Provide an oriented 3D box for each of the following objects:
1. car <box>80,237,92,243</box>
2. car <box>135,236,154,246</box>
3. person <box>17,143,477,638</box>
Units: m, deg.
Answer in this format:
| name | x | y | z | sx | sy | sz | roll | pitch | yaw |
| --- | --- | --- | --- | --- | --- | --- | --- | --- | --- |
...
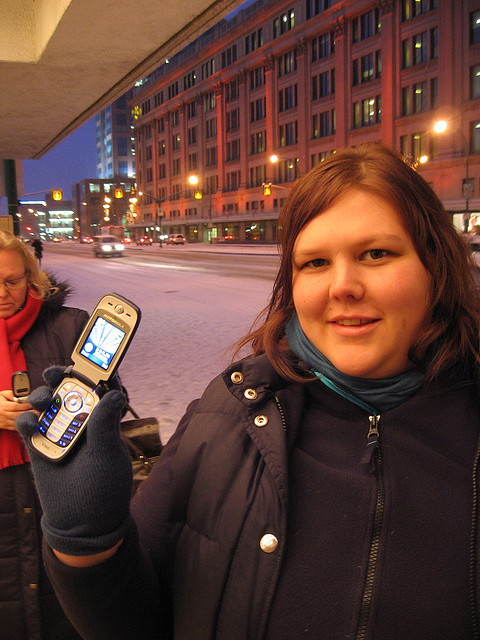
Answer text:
| name | x | y | z | sx | sy | sz | roll | pitch | yaw |
| --- | --- | --- | --- | --- | --- | --- | --- | --- | --- |
| car | -30.876 | -16.082 | 100.904 | 2.440 | 1.123 | 3.780 | 0 | 11 | -11 |
| car | -15.196 | -12.543 | 80.064 | 1.566 | 0.882 | 2.820 | -5 | 17 | -15 |
| person | 0.085 | 0.167 | 1.112 | 1.035 | 1.091 | 0.500 | -3 | 13 | 1 |
